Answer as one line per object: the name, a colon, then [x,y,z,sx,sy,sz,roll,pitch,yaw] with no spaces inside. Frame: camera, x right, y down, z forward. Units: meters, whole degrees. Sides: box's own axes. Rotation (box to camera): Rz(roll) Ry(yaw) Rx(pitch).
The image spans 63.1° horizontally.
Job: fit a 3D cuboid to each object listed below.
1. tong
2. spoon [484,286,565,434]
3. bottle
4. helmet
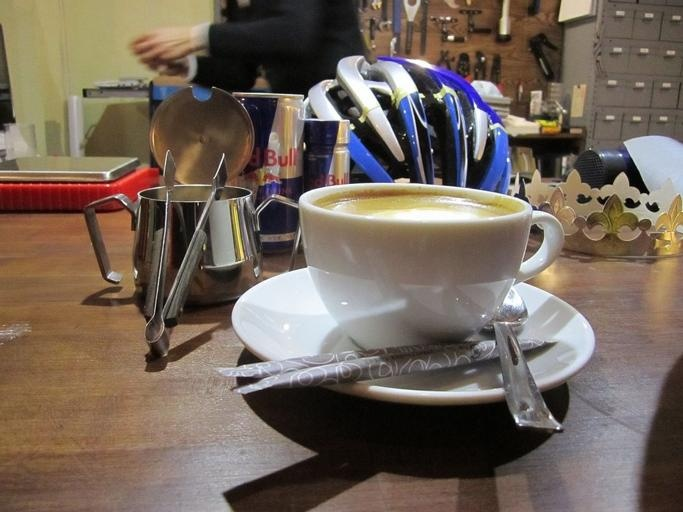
tong: [-0.138,-0.007,0.509,0.054,0.033,0.189,4,54,2]
spoon: [0.126,0.069,0.409,0.041,0.018,0.173,6,25,8]
bottle: [-0.142,-0.063,0.559,0.207,0.207,0.127,-1,13,-12]
helmet: [0.087,-0.156,0.777,0.194,0.115,0.263,17,12,-17]
